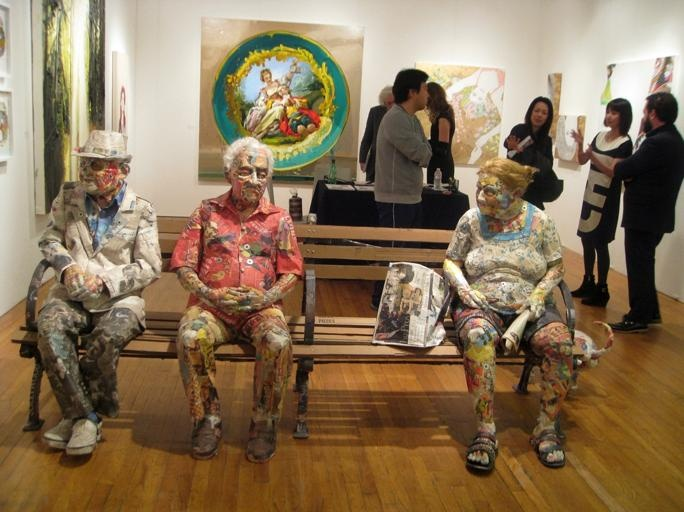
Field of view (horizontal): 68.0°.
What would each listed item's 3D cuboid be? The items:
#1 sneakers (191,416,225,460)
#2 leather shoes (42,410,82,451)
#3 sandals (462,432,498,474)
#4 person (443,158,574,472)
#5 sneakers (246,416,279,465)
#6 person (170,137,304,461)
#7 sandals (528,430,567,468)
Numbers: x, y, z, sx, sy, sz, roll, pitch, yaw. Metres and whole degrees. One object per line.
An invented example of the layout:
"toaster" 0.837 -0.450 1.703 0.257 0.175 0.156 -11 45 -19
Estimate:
"sneakers" -0.744 0.968 2.716 0.101 0.111 0.248 0 -1 -7
"leather shoes" -1.508 0.941 2.741 0.108 0.113 0.256 23 -13 -8
"sandals" 0.766 1.048 2.745 0.188 0.172 0.164 3 17 5
"person" 0.954 0.287 2.861 0.703 1.574 0.808 2 17 2
"sneakers" -0.439 0.969 2.723 0.166 0.195 0.153 -2 17 -12
"person" -0.593 0.195 2.800 0.739 1.616 0.765 0 17 -6
"sandals" 1.162 1.066 2.833 0.103 0.093 0.224 -3 3 2
